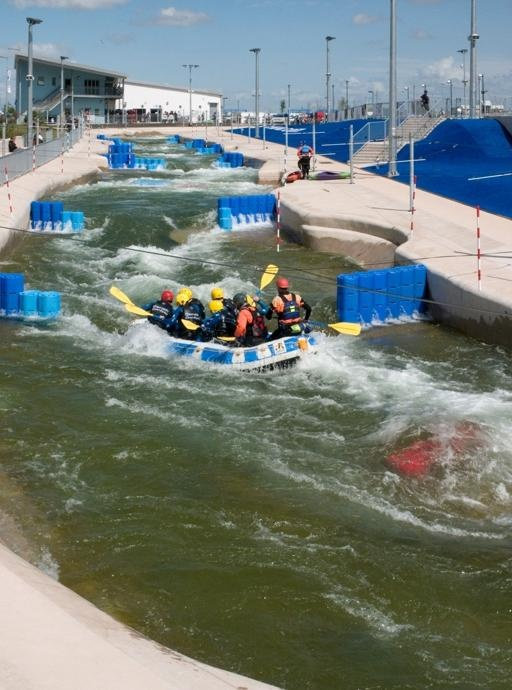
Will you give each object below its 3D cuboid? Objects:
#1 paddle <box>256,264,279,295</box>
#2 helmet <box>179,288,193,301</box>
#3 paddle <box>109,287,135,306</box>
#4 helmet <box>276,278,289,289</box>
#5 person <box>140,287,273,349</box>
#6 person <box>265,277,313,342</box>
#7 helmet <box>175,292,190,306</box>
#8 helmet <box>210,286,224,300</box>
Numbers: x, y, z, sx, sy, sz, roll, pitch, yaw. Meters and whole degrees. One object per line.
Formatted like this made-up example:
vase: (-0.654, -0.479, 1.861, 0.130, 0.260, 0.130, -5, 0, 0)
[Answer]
paddle: (0.323, -1.663, 15.886, 0.361, 0.063, 1.226, 15, 46, 16)
helmet: (-1.491, -1.083, 14.426, 0.273, 0.280, 0.315, -5, -7, 8)
paddle: (-3.376, -1.232, 17.097, 0.345, 0.128, 1.281, -36, 33, -9)
helmet: (0.512, -1.229, 13.437, 0.242, 0.137, 0.300, 0, 21, -8)
person: (-0.863, -0.567, 13.846, 1.930, 0.654, 1.140, 1, 8, 26)
person: (0.654, -0.489, 13.632, 0.950, 1.669, 0.827, 8, 30, 18)
helmet: (-1.533, -1.021, 14.350, 0.275, 0.280, 0.326, -3, -2, 2)
helmet: (-0.740, -1.083, 13.979, 0.293, 0.291, 0.373, -5, 3, -16)
